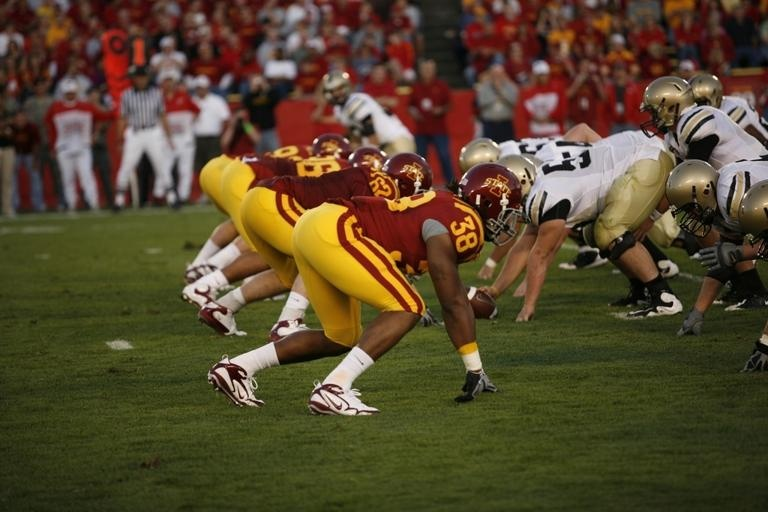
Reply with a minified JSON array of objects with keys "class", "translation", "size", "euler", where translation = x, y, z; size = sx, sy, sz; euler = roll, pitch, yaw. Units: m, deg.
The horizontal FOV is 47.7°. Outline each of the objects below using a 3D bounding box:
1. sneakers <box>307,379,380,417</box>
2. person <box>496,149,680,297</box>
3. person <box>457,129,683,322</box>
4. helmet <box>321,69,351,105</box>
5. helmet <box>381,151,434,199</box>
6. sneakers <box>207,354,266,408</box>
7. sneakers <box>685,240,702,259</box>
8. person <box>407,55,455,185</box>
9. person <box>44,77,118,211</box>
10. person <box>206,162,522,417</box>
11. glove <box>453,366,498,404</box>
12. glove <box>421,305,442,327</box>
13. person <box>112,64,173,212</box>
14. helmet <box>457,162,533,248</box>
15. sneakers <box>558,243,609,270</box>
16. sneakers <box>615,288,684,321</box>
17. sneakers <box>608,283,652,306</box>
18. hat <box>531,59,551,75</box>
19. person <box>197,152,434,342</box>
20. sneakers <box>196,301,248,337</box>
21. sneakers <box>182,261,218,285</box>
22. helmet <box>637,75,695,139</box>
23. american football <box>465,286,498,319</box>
[{"class":"sneakers","translation":[-0.266,0.856,5.204],"size":[0.474,0.206,0.165],"euler":[2,0,-7]},{"class":"person","translation":[1.651,-0.202,7.212],"size":[1.751,1.338,1.020],"euler":[-7,7,5]},{"class":"person","translation":[1.575,-0.245,7.240],"size":[1.778,1.329,1.059],"euler":[-6,6,0]},{"class":"helmet","translation":[-0.559,-2.045,10.456],"size":[0.369,0.414,0.455],"euler":[-3,26,0]},{"class":"helmet","translation":[0.153,-0.576,6.229],"size":[0.437,0.370,0.335],"euler":[-1,-3,13]},{"class":"sneakers","translation":[-0.899,0.771,5.305],"size":[0.319,0.150,0.114],"euler":[37,30,-8]},{"class":"sneakers","translation":[2.774,-0.072,7.768],"size":[0.109,0.194,0.167],"euler":[2,7,36]},{"class":"person","translation":[0.701,-1.910,13.353],"size":[0.850,2.156,0.842],"euler":[1,29,7]},{"class":"person","translation":[-2.520,-0.832,7.163],"size":[0.451,0.847,0.549],"euler":[-4,14,-12]},{"class":"person","translation":[-0.029,0.211,5.486],"size":[2.014,1.461,0.942],"euler":[-1,0,-21]},{"class":"glove","translation":[0.540,0.784,5.340],"size":[0.318,0.181,0.112],"euler":[-18,7,-41]},{"class":"glove","translation":[0.368,0.494,7.006],"size":[0.107,0.153,0.320],"euler":[-3,2,-36]},{"class":"person","translation":[-2.163,-1.073,7.604],"size":[0.488,1.131,1.204],"euler":[-5,14,-15]},{"class":"helmet","translation":[0.642,-0.363,5.500],"size":[0.502,0.466,0.390],"euler":[8,7,-26]},{"class":"sneakers","translation":[2.003,0.012,9.059],"size":[0.627,0.277,0.203],"euler":[-1,5,1]},{"class":"sneakers","translation":[2.023,0.391,6.900],"size":[0.651,0.283,0.209],"euler":[-1,-2,2]},{"class":"sneakers","translation":[2.056,0.323,7.389],"size":[0.419,0.236,0.145],"euler":[-3,4,-3]},{"class":"hat","translation":[2.493,-2.986,13.789],"size":[0.298,0.149,0.294],"euler":[1,38,6]},{"class":"person","translation":[-0.401,-0.070,6.138],"size":[1.844,1.222,1.091],"euler":[-1,-1,-9]},{"class":"sneakers","translation":[-1.272,0.430,6.546],"size":[0.124,0.155,0.362],"euler":[22,20,38]},{"class":"sneakers","translation":[-1.584,0.130,7.443],"size":[0.244,0.101,0.182],"euler":[-11,17,15]},{"class":"helmet","translation":[2.343,-1.253,7.196],"size":[0.460,0.481,0.502],"euler":[-15,17,-33]},{"class":"american football","translation":[0.696,0.322,6.154],"size":[0.126,0.292,0.168],"euler":[-40,30,19]}]
